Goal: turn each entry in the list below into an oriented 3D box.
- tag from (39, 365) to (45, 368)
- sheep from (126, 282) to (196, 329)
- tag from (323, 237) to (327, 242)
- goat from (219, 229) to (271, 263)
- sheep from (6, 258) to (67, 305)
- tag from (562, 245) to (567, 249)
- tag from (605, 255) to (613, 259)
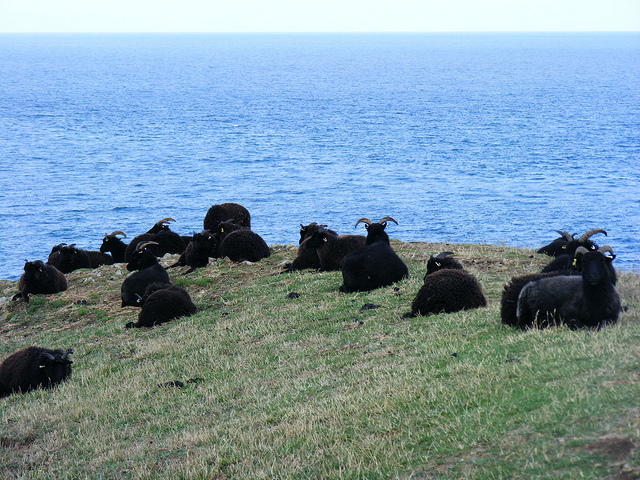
[{"bbox_3d":[-24.615,11.230,110.655,0.436,0.232,0.065,-2,15,-10],"label":"tag"},{"bbox_3d":[-14.223,6.298,114.422,3.604,2.633,5.694,7,8,-12],"label":"sheep"},{"bbox_3d":[0.432,-0.042,118.216,0.430,0.371,0.105,-4,0,0],"label":"tag"},{"bbox_3d":[-7.439,0.712,122.003,2.813,2.171,4.239,6,8,18],"label":"goat"},{"bbox_3d":[-27.338,3.704,120.888,3.875,4.599,3.921,4,9,38],"label":"sheep"},{"bbox_3d":[22.842,0.669,117.020,0.301,0.087,0.288,-16,13,-23],"label":"tag"},{"bbox_3d":[24.910,1.458,108.065,0.596,0.167,0.300,4,14,12],"label":"tag"}]
